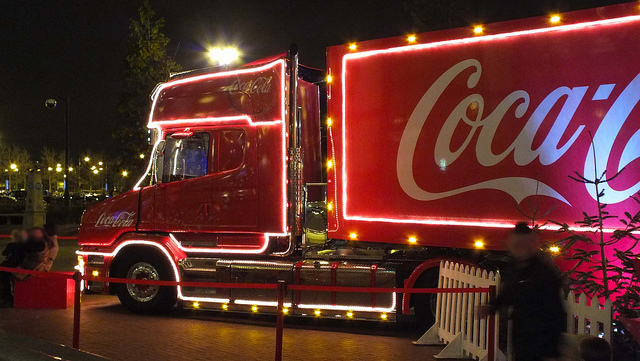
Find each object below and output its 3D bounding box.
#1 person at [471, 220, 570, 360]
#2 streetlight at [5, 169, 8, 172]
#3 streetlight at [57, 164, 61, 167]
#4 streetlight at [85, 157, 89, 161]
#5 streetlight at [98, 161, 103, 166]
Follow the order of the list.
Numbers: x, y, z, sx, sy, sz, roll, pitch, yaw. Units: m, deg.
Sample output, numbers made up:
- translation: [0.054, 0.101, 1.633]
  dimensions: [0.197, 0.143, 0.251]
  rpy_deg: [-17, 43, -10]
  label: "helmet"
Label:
- translation: [3.305, 1.774, 8.434]
  dimensions: [1.080, 2.127, 0.471]
  rpy_deg: [2, 4, 18]
  label: "person"
- translation: [-49.188, -1.675, 82.337]
  dimensions: [0.262, 0.487, 0.256]
  rpy_deg: [-1, 10, -30]
  label: "streetlight"
- translation: [-45.909, -2.749, 92.147]
  dimensions: [0.532, 0.305, 0.549]
  rpy_deg: [-2, -4, 35]
  label: "streetlight"
- translation: [-38.246, -3.656, 86.151]
  dimensions: [0.649, 0.643, 0.174]
  rpy_deg: [-4, -23, 20]
  label: "streetlight"
- translation: [-34.896, -2.790, 83.285]
  dimensions: [0.625, 0.601, 0.147]
  rpy_deg: [6, 6, 15]
  label: "streetlight"
